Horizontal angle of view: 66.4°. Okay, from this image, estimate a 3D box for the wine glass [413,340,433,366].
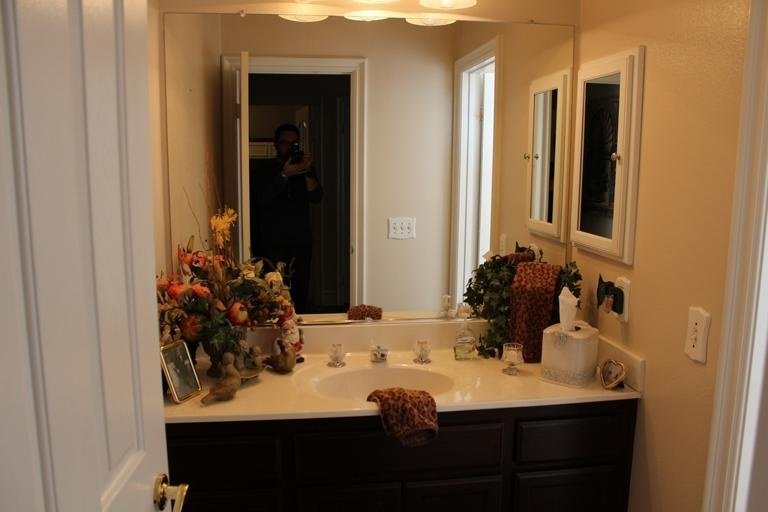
[{"bbox_3d":[0.173,0.430,2.584,0.082,0.083,0.084,1,0,37],"label":"wine glass"}]

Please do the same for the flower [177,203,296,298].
[{"bbox_3d":[-0.659,-0.005,2.499,0.408,0.486,0.406,8,3,-34],"label":"flower"}]

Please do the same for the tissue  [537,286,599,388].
[{"bbox_3d":[0.751,0.317,2.347,0.228,0.372,0.142,0,7,9],"label":"tissue "}]

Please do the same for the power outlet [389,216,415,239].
[{"bbox_3d":[0.079,-0.134,2.637,0.095,0.083,0.016,0,12,-5],"label":"power outlet"}]

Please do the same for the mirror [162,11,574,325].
[{"bbox_3d":[-0.107,-0.428,2.545,1.336,1.034,0.050,-1,5,-11],"label":"mirror"}]

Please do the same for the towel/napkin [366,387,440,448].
[{"bbox_3d":[0.068,0.587,2.133,0.255,0.186,0.125,-1,7,2],"label":"towel/napkin"}]

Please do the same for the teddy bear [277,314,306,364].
[{"bbox_3d":[-0.405,0.344,2.519,0.105,0.241,0.157,-12,-18,0],"label":"teddy bear"}]

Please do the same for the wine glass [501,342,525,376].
[{"bbox_3d":[0.526,0.422,2.443,0.108,0.140,0.111,1,13,7],"label":"wine glass"}]

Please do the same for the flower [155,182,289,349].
[{"bbox_3d":[-0.731,0.029,2.514,0.530,0.712,0.556,4,3,42],"label":"flower"}]

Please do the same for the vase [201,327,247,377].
[{"bbox_3d":[-0.610,0.362,2.385,0.190,0.216,0.200,1,2,4],"label":"vase"}]

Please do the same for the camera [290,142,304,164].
[{"bbox_3d":[-0.375,-0.449,2.542,0.058,0.086,0.030,0,6,-5],"label":"camera"}]

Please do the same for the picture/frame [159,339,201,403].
[{"bbox_3d":[-0.755,0.429,2.182,0.087,0.208,0.136,2,7,23],"label":"picture/frame"}]
